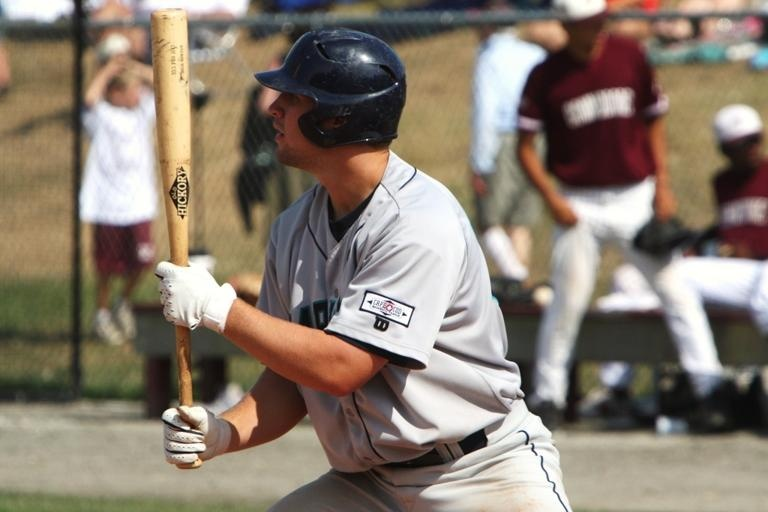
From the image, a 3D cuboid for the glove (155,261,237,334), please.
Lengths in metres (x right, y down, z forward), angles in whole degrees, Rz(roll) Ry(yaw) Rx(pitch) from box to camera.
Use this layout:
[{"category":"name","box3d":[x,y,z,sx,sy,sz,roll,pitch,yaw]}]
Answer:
[{"category":"glove","box3d":[-0.973,0.229,7.103,0.354,0.164,0.474,22,24,-48]}]

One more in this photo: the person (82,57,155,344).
[{"category":"person","box3d":[-1.867,-0.426,10.137,0.446,1.968,1.140,4,16,2]}]

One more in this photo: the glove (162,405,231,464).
[{"category":"glove","box3d":[-0.943,0.906,7.157,0.332,0.163,0.247,3,-27,-2]}]
